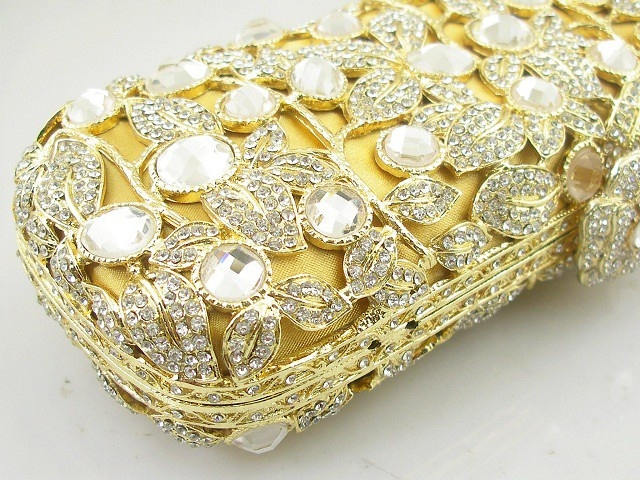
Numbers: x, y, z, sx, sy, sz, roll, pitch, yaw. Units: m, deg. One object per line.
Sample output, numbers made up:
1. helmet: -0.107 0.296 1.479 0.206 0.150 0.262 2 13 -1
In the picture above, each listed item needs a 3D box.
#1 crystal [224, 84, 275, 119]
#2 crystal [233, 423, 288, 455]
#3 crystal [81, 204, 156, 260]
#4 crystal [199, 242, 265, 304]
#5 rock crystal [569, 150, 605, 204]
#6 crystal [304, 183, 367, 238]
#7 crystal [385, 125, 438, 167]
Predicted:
1. crystal: -0.218 -0.456 3.102 0.169 0.061 0.173 -5 -5 -41
2. crystal: -0.177 0.615 3.010 0.123 0.052 0.117 -22 -12 38
3. crystal: -0.587 -0.017 2.833 0.231 0.136 0.105 -10 -58 0
4. crystal: -0.247 0.097 2.790 0.193 0.118 0.115 0 -59 -6
5. rock crystal: 0.859 -0.209 3.158 0.045 0.149 0.159 5 -48 37
6. crystal: 0.048 -0.082 2.884 0.188 0.124 0.110 -3 -58 -5
7. crystal: 0.283 -0.283 2.989 0.174 0.100 0.092 6 -59 -9
